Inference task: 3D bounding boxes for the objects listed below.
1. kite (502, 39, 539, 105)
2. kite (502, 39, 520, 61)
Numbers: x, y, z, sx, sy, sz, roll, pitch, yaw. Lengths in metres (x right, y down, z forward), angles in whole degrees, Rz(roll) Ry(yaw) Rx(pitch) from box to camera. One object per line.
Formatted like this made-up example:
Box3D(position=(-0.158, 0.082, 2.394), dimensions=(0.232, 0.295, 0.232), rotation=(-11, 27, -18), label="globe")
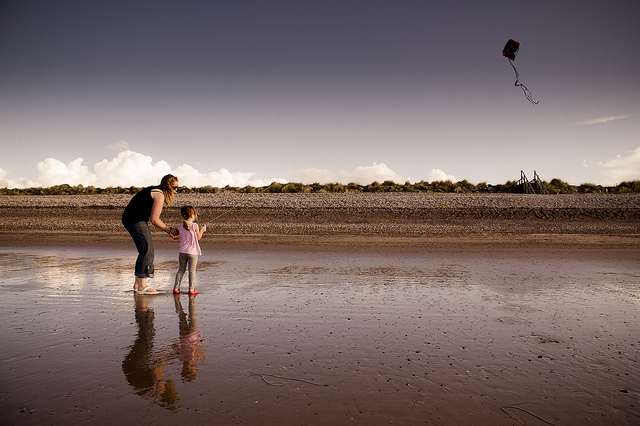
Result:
Box3D(position=(6.431, -4.624, 13.892), dimensions=(0.585, 2.880, 0.647), rotation=(23, -45, -32), label="kite")
Box3D(position=(6.425, -5.518, 14.540), dimensions=(0.435, 0.808, 1.234), rotation=(-3, 2, 23), label="kite")
